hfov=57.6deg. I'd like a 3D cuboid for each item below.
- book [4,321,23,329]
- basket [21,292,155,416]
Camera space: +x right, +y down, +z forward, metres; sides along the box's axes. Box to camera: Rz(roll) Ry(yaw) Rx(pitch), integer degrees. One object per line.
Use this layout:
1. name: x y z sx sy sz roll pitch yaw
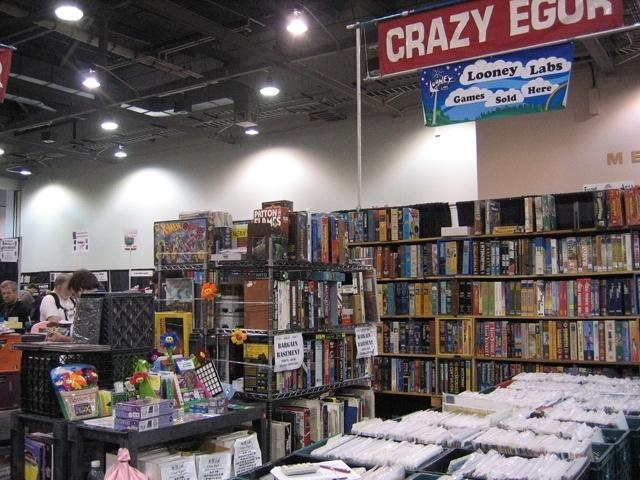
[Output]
1. book: -3.495 0.964 6.625 0.184 0.045 0.169 4 -5 -35
2. basket: -1.862 0.832 4.439 0.675 1.024 0.967 -5 -9 36
